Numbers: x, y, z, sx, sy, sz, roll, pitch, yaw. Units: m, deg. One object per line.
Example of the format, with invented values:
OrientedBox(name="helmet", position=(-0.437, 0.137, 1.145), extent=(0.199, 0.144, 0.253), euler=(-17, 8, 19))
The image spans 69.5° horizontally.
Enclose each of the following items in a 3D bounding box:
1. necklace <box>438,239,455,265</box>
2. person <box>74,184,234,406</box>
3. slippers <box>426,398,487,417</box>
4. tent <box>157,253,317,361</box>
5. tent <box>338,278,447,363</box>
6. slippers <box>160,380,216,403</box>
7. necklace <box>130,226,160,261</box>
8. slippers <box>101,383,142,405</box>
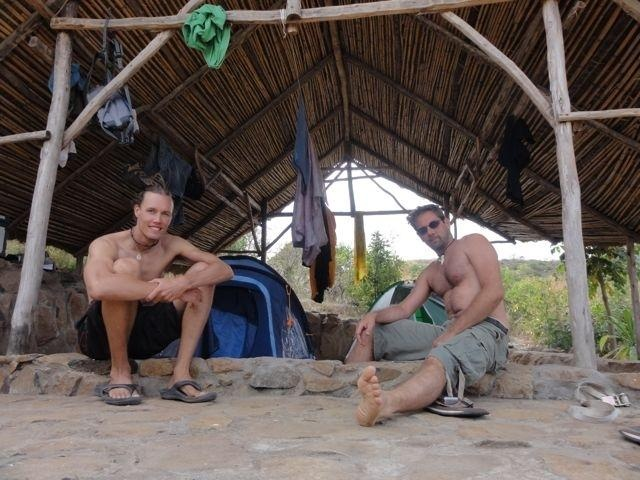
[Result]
OrientedBox(name="necklace", position=(1.042, 0.104, 3.813), extent=(0.045, 0.169, 0.133), euler=(15, -23, 1))
OrientedBox(name="person", position=(-1.180, 0.356, 3.266), extent=(0.956, 1.507, 0.783), euler=(2, -4, -25))
OrientedBox(name="slippers", position=(0.782, 0.949, 2.670), extent=(0.141, 0.052, 0.229), euler=(8, -11, -41))
OrientedBox(name="tent", position=(-0.758, 0.924, 5.400), extent=(1.397, 1.236, 2.111), euler=(-4, -22, 11))
OrientedBox(name="tent", position=(1.181, 0.987, 6.901), extent=(1.428, 0.988, 1.414), euler=(13, -30, -31))
OrientedBox(name="slippers", position=(-0.912, 1.005, 3.092), extent=(0.397, 0.142, 0.145), euler=(-1, -15, 13))
OrientedBox(name="necklace", position=(-1.306, 0.025, 3.317), extent=(0.189, 0.238, 0.059), euler=(12, 9, -18))
OrientedBox(name="slippers", position=(-1.293, 0.996, 2.959), extent=(0.272, 0.106, 0.227), euler=(2, -4, -17))
